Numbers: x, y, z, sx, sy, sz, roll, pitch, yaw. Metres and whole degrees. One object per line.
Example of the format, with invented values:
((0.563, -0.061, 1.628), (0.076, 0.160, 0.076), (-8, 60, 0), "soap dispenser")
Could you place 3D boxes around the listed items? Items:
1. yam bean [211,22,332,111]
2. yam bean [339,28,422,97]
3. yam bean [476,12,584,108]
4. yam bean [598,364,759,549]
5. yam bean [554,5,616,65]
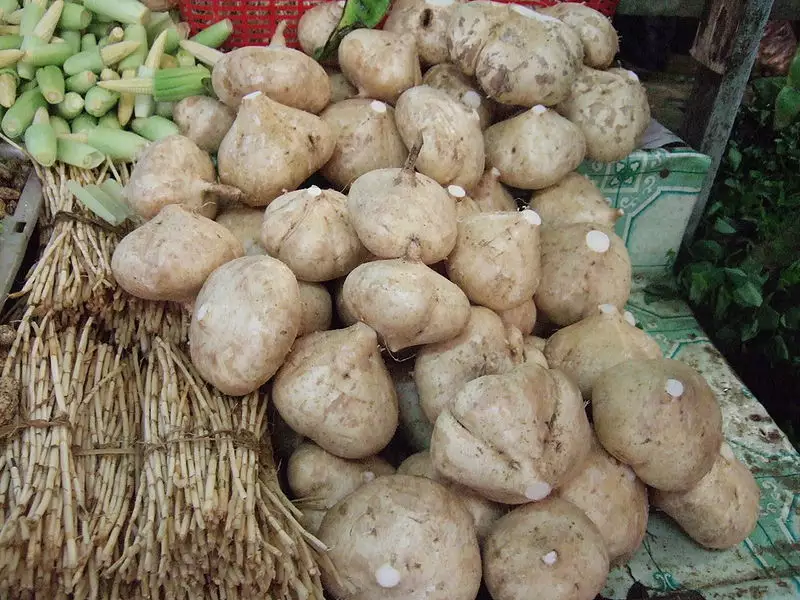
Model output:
((-0.560, -0.968, 3.137), (0.339, 0.384, 0.346), (10, 14, 12), "yam bean")
((-0.096, -1.064, 3.312), (0.301, 0.237, 0.330), (22, 63, 7), "yam bean")
((0.594, -1.057, 3.362), (0.401, 0.225, 0.454), (-18, 80, -5), "yam bean")
((1.028, 0.675, 2.849), (0.550, 0.297, 0.793), (-27, 91, -36), "yam bean")
((0.895, -1.319, 3.575), (0.237, 0.179, 0.318), (6, 37, -48), "yam bean")
